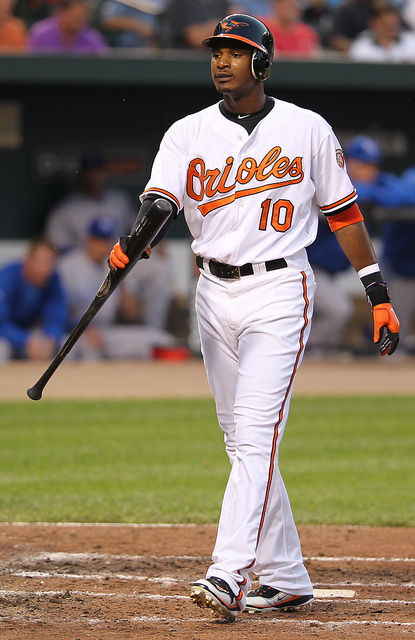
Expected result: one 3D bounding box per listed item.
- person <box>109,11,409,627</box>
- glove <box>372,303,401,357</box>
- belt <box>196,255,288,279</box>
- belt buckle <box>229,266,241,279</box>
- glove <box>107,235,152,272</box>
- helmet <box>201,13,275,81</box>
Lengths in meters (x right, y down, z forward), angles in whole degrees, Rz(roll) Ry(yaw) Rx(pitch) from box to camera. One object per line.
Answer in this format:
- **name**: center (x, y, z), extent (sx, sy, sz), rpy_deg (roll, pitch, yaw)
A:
- **person**: center (0.125, -0.007, 2.042), extent (0.615, 1.486, 0.453), rpy_deg (-1, 4, -33)
- **glove**: center (0.456, 0.029, 2.135), extent (0.068, 0.144, 0.273), rpy_deg (2, 3, 12)
- **belt**: center (0.064, -0.128, 2.045), extent (0.253, 0.057, 0.095), rpy_deg (3, 4, 44)
- **belt buckle**: center (0.070, -0.112, 1.994), extent (0.014, 0.030, 0.025), rpy_deg (0, 4, -21)
- **glove**: center (-0.217, -0.159, 2.040), extent (0.047, 0.087, 0.094), rpy_deg (0, 3, -13)
- **helmet**: center (0.070, -0.674, 2.075), extent (0.212, 0.149, 0.169), rpy_deg (4, 10, -17)
